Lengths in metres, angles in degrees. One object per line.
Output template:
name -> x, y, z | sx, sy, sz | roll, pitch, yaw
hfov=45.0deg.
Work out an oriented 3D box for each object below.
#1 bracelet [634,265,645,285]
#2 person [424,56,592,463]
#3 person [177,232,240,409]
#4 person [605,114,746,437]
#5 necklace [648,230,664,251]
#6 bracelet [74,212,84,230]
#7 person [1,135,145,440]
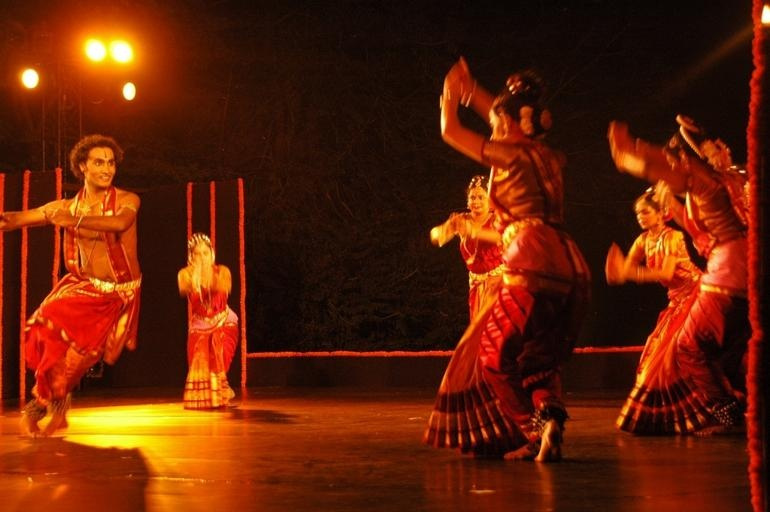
bracelet -> 1.680, 0.130, 6.121 | 0.065, 0.163, 0.185 | 0, 2, 14
person -> 0.723, 0.042, 5.288 | 0.888, 2.202, 0.593 | 3, -10, -2
person -> -1.634, 0.600, 8.527 | 0.537, 1.605, 0.477 | 4, -10, -7
person -> 1.933, 0.136, 5.945 | 0.766, 2.030, 1.574 | -1, -10, 19
necklace -> 1.937, -0.100, 6.621 | 0.130, 0.139, 0.164 | 1, -2, 33
bracelet -> -1.998, -0.209, 6.066 | 0.026, 0.076, 0.083 | 27, -31, -19
person -> -2.090, 0.191, 6.269 | 0.813, 2.035, 0.625 | 4, -10, -9
